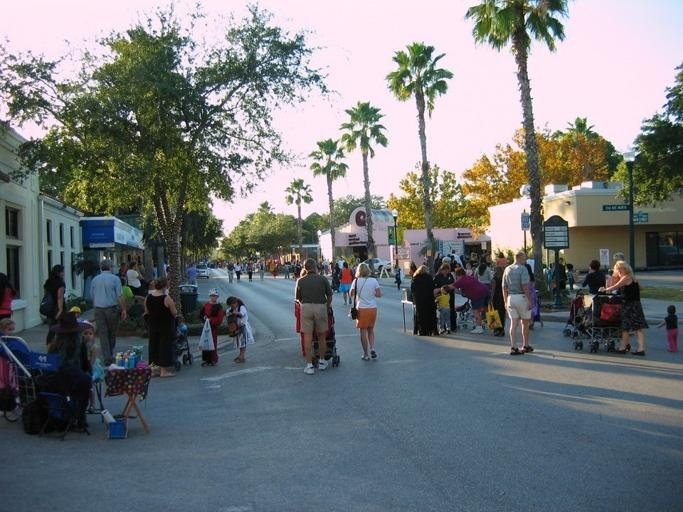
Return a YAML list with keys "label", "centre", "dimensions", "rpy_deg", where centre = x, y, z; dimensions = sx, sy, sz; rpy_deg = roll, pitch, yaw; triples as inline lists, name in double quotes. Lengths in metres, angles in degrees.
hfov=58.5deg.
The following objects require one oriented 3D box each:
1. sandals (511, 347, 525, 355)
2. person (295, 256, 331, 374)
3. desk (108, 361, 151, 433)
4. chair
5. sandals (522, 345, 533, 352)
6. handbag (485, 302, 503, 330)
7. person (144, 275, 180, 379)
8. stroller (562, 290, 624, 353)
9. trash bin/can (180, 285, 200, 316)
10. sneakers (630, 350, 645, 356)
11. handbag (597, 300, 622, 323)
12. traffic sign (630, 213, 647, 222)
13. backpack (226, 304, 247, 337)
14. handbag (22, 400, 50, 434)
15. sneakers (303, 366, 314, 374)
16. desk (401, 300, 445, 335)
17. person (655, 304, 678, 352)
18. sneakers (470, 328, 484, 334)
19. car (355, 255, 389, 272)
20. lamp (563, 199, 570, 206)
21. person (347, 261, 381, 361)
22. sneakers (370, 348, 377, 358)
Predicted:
- label: "sandals"
  centre: [3.966, 2.127, 13.691]
  dimensions: [0.282, 0.150, 0.131]
  rpy_deg: [-3, 5, -23]
- label: "person"
  centre: [-0.565, 1.227, 12.666]
  dimensions: [0.711, 1.597, 0.960]
  rpy_deg: [-2, -2, -8]
- label: "desk"
  centre: [-3.172, 1.958, 8.993]
  dimensions: [0.585, 0.892, 0.673]
  rpy_deg: [6, 12, -24]
- label: "chair"
  centre: [-3.889, 2.162, 9.005]
  dimensions: [0.627, 0.906, 0.775]
  rpy_deg: [-1, -11, 5]
- label: "sandals"
  centre: [4.257, 2.121, 13.883]
  dimensions: [0.274, 0.159, 0.127]
  rpy_deg: [-5, 7, -19]
- label: "handbag"
  centre: [4.325, 1.716, 17.221]
  dimensions: [0.423, 0.617, 0.338]
  rpy_deg: [-3, -2, 7]
- label: "person"
  centre: [-3.716, 1.484, 12.616]
  dimensions: [0.634, 2.046, 0.628]
  rpy_deg: [-2, -2, -20]
- label: "stroller"
  centre: [6.010, 1.476, 14.280]
  dimensions: [0.965, 1.246, 1.587]
  rpy_deg: [1, 4, -2]
- label: "trash bin/can"
  centre: [-5.833, 1.710, 23.281]
  dimensions: [0.853, 1.376, 0.936]
  rpy_deg: [-1, -4, -8]
- label: "sneakers"
  centre: [6.409, 2.090, 13.135]
  dimensions: [0.247, 0.120, 0.090]
  rpy_deg: [3, 3, 27]
- label: "handbag"
  centre: [5.965, 1.201, 13.466]
  dimensions: [0.402, 0.472, 0.175]
  rpy_deg: [2, 4, 18]
- label: "traffic sign"
  centre: [13.376, -1.758, 27.372]
  dimensions: [0.599, 0.189, 0.708]
  rpy_deg: [-6, 5, 3]
- label: "backpack"
  centre: [-2.437, 1.485, 14.197]
  dimensions: [0.436, 0.715, 0.389]
  rpy_deg: [-2, -2, -13]
- label: "handbag"
  centre: [-4.406, 2.298, 8.771]
  dimensions: [0.361, 0.507, 0.162]
  rpy_deg: [-3, -2, 4]
- label: "sneakers"
  centre: [-0.666, 2.314, 12.476]
  dimensions: [0.195, 0.123, 0.309]
  rpy_deg: [-3, -3, -5]
- label: "desk"
  centre: [2.394, 1.748, 17.768]
  dimensions: [1.072, 1.253, 0.923]
  rpy_deg: [-1, 3, -11]
- label: "person"
  centre: [7.404, 1.598, 13.747]
  dimensions: [0.366, 1.091, 1.511]
  rpy_deg: [-4, -2, 28]
- label: "sneakers"
  centre: [4.037, 2.205, 18.122]
  dimensions: [0.360, 0.296, 0.167]
  rpy_deg: [0, 0, 25]
- label: "car"
  centre: [3.281, 0.969, 61.733]
  dimensions: [3.393, 1.403, 1.783]
  rpy_deg: [-5, 3, -2]
- label: "lamp"
  centre: [15.447, -3.697, 41.711]
  dimensions: [0.429, 0.249, 0.674]
  rpy_deg: [0, -3, 3]
- label: "person"
  centre: [0.537, 1.238, 13.789]
  dimensions: [0.668, 1.598, 0.696]
  rpy_deg: [-3, -2, 1]
- label: "sneakers"
  centre: [0.729, 2.219, 13.942]
  dimensions: [0.111, 0.142, 0.310]
  rpy_deg: [-3, -17, 2]
